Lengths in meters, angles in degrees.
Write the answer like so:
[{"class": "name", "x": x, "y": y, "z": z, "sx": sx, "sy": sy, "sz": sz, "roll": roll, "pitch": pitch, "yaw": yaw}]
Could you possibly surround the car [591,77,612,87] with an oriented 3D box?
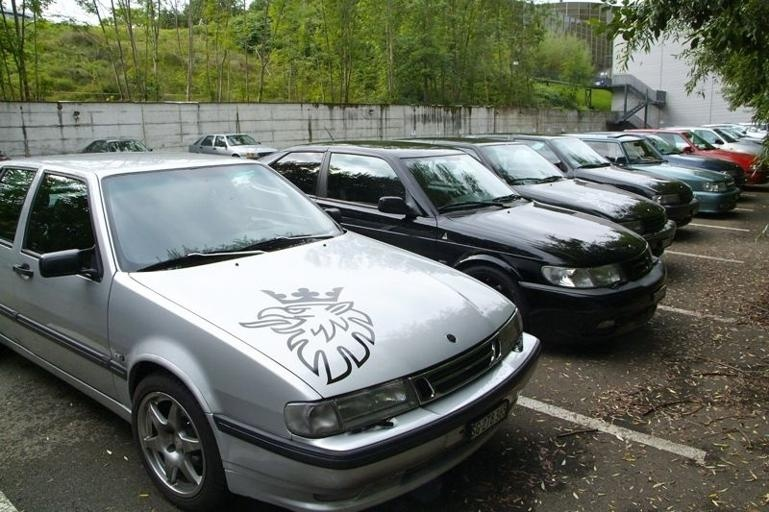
[{"class": "car", "x": 19.823, "y": -15.617, "z": 44.780, "sx": 0.773, "sy": 0.937, "sz": 3.897, "roll": 3, "pitch": 18, "yaw": 12}]
